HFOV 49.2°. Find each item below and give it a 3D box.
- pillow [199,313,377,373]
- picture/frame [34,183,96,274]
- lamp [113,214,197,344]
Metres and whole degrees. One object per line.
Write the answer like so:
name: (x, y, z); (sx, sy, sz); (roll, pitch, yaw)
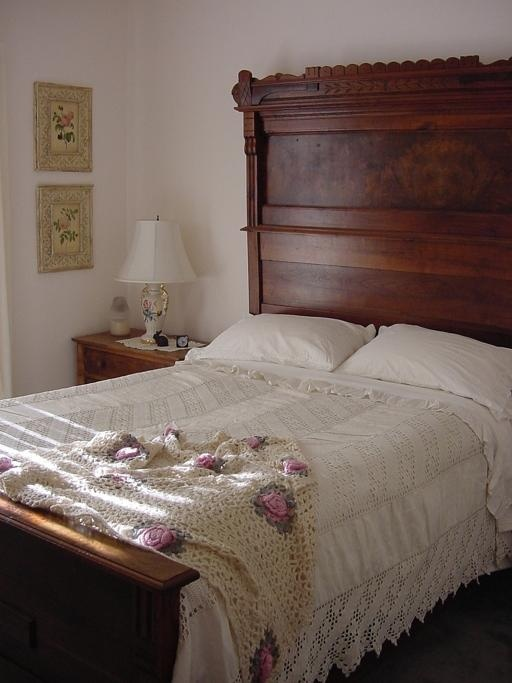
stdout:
pillow: (0.120, -0.002, 2.499); (0.455, 0.108, 0.379); (4, 29, 35)
picture/frame: (-1.120, -0.672, 3.294); (0.326, 0.382, 0.021); (-6, 12, -34)
lamp: (-0.685, -0.418, 3.505); (0.639, 0.966, 0.651); (-2, 13, -17)
